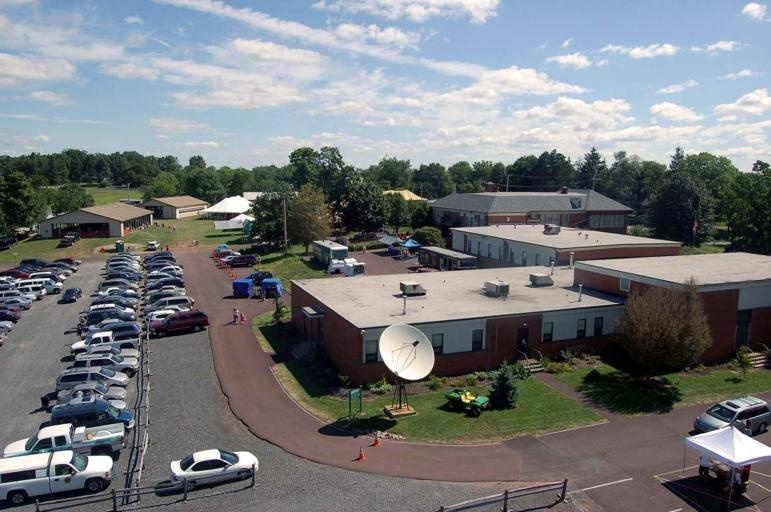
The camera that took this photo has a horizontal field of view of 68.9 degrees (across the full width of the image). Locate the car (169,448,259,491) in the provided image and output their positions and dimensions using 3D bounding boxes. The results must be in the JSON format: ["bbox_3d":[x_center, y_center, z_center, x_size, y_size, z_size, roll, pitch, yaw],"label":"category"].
[{"bbox_3d":[-12.480,15.672,41.100,5.901,1.632,2.581,-6,34,-13],"label":"car"}]

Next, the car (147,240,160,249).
[{"bbox_3d":[-46.531,-2.258,112.747,1.352,0.949,2.586,1,14,-4],"label":"car"}]

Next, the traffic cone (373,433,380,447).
[{"bbox_3d":[-0.679,14.475,43.984,0.587,0.680,0.532,-3,11,-15],"label":"traffic cone"}]

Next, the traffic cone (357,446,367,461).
[{"bbox_3d":[-1.787,15.056,42.605,0.626,0.749,0.545,3,4,41],"label":"traffic cone"}]

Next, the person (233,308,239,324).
[{"bbox_3d":[-17.596,7.130,66.064,0.721,1.338,1.531,-3,8,-15],"label":"person"}]

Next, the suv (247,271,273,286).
[{"bbox_3d":[-18.627,3.313,82.969,3.334,1.530,2.099,3,0,-11],"label":"suv"}]
